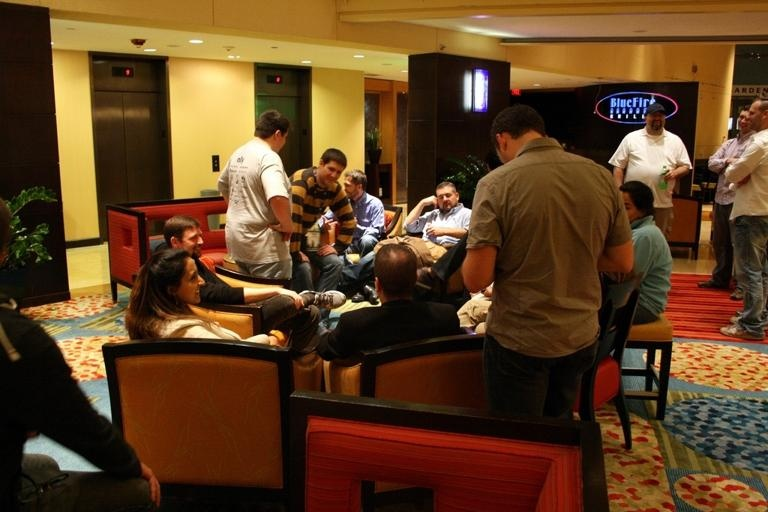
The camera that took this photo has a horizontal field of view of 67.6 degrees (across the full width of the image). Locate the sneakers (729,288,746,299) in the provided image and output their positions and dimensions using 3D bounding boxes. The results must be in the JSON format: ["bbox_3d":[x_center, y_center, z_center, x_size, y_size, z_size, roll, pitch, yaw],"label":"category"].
[{"bbox_3d":[4.027,0.440,6.533,0.095,0.115,0.268,4,7,23],"label":"sneakers"}]

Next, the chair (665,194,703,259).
[{"bbox_3d":[4.476,-0.437,8.619,0.633,0.866,0.631,4,0,-10],"label":"chair"}]

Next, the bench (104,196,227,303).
[{"bbox_3d":[-2.177,-0.039,6.768,0.766,1.209,1.786,12,15,38],"label":"bench"}]

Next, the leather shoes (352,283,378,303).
[{"bbox_3d":[-0.221,0.420,6.423,0.189,0.135,0.275,-2,3,-31],"label":"leather shoes"}]

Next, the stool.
[{"bbox_3d":[1.903,0.819,4.150,0.482,0.612,0.730,3,7,24],"label":"stool"}]

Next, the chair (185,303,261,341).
[{"bbox_3d":[-1.006,0.425,3.530,0.295,0.324,0.239,6,10,4],"label":"chair"}]

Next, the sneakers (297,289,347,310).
[{"bbox_3d":[-0.451,0.334,4.040,0.415,0.143,0.168,-2,10,19],"label":"sneakers"}]

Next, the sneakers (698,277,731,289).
[{"bbox_3d":[3.999,0.326,7.051,0.411,0.175,0.142,4,5,11],"label":"sneakers"}]
